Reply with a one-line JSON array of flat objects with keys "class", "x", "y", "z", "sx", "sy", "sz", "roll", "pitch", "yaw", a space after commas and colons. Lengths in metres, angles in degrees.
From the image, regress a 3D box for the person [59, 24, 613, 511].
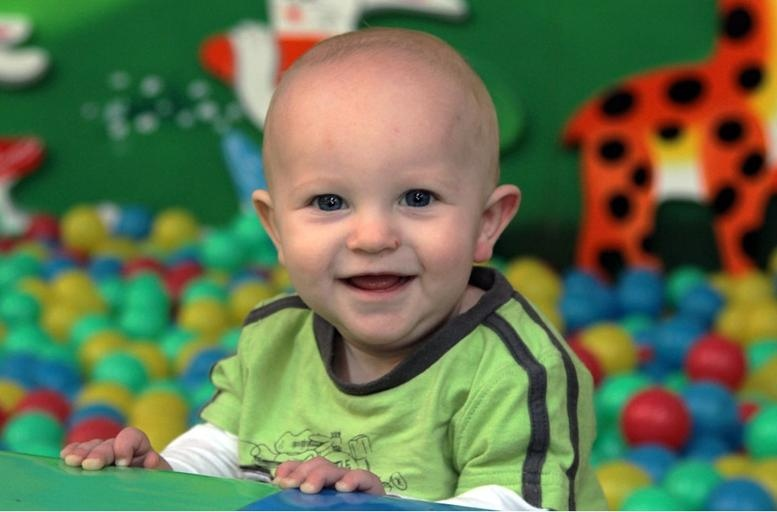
[{"class": "person", "x": -0.059, "y": 0.090, "z": 2.613, "sx": 1.294, "sy": 1.227, "sz": 1.074, "roll": -2, "pitch": -2, "yaw": 12}]
